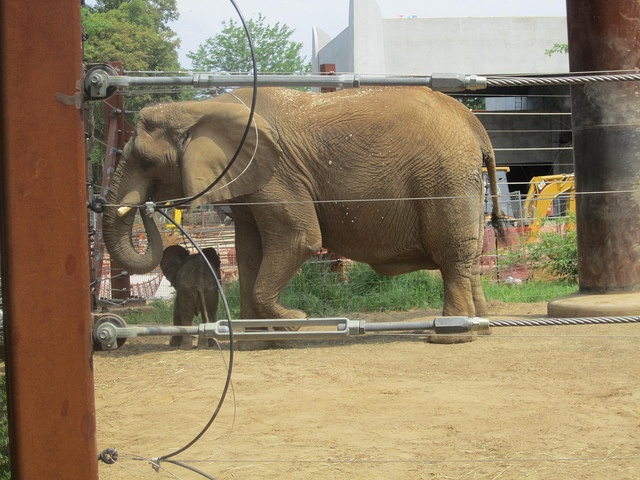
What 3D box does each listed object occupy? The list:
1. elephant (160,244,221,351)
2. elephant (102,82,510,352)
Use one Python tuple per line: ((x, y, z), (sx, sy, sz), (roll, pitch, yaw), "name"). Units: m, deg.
((-1.128, 0.477, 11.160), (0.501, 0.816, 1.109), (1, 2, -13), "elephant")
((-0.082, -0.209, 10.638), (3.004, 2.187, 1.192), (0, 10, 7), "elephant")
